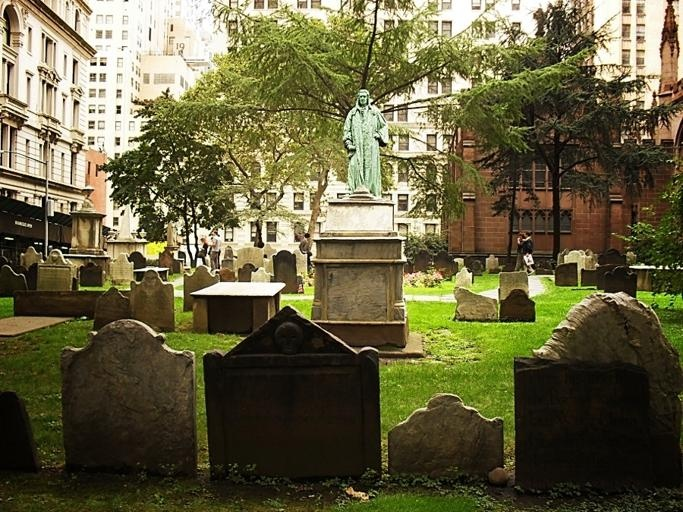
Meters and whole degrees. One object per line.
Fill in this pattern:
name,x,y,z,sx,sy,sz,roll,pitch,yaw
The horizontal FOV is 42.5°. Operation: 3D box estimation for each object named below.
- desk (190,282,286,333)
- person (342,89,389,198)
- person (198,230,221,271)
desk,-2.799,1.372,23.060,2.209,1.358,1.959,-1,-5,-7
person,0.599,-2.828,22.184,1.075,2.854,0.867,-1,-5,2
person,-6.155,-0.247,40.672,0.844,0.831,2.410,-3,-7,-12
